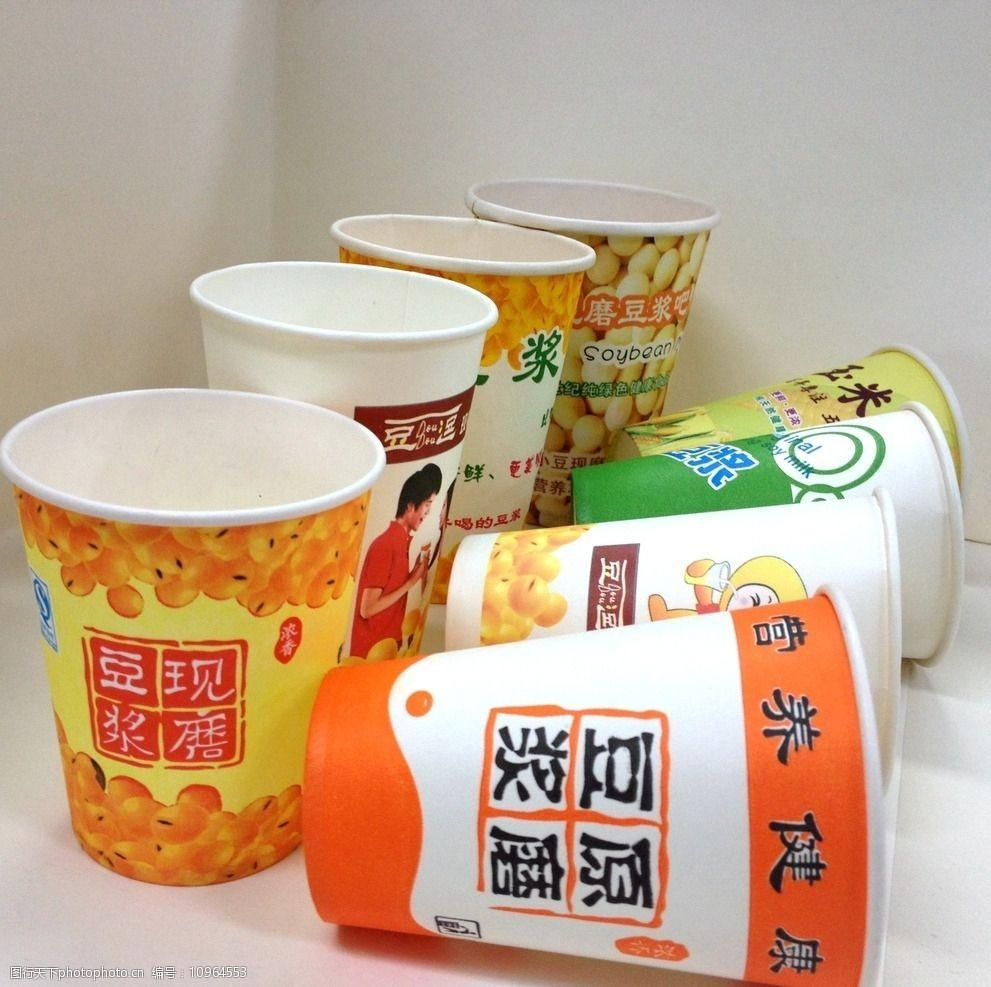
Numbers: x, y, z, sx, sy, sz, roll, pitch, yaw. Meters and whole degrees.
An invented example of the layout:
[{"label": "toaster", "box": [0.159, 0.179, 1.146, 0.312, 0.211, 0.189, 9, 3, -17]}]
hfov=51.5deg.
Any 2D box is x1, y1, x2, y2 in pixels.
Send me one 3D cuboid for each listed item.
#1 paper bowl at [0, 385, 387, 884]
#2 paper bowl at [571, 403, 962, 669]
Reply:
[{"label": "paper bowl", "box": [-0.195, 0.081, 0.863, 0.339, 0.382, 0.354, 6, 26, -3]}, {"label": "paper bowl", "box": [0.265, 0.067, 1.066, 0.416, 0.301, 0.311, -1, 8, 3]}]
